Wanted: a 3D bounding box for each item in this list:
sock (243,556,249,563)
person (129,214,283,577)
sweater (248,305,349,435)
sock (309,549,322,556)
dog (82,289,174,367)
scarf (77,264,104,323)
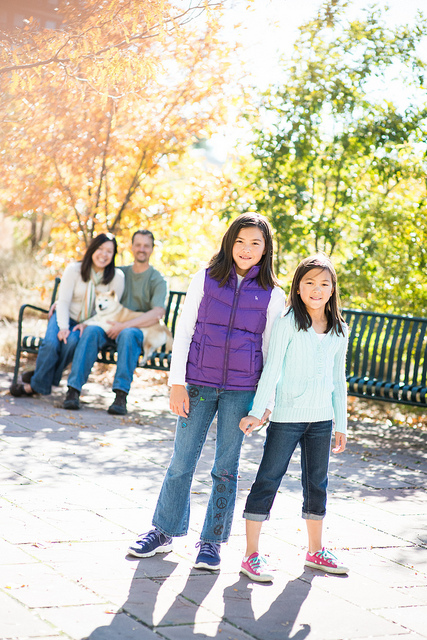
[{"bbox_3d":[0.131,0.945,2.517,0.014,0.024,0.027,10,-2,-39],"label":"sock"},{"bbox_3d":[0.009,0.265,2.619,0.416,1.453,0.253,9,-1,11],"label":"person"},{"bbox_3d":[0.394,0.205,2.687,0.439,0.506,0.168,8,-4,-20],"label":"sweater"},{"bbox_3d":[0.435,0.983,2.700,0.056,0.021,0.018,-31,6,3],"label":"sock"},{"bbox_3d":[-0.828,0.065,6.124,1.125,0.519,0.350,17,3,-21],"label":"dog"},{"bbox_3d":[-1.155,-0.255,6.072,0.160,0.536,0.183,5,0,28],"label":"scarf"}]
